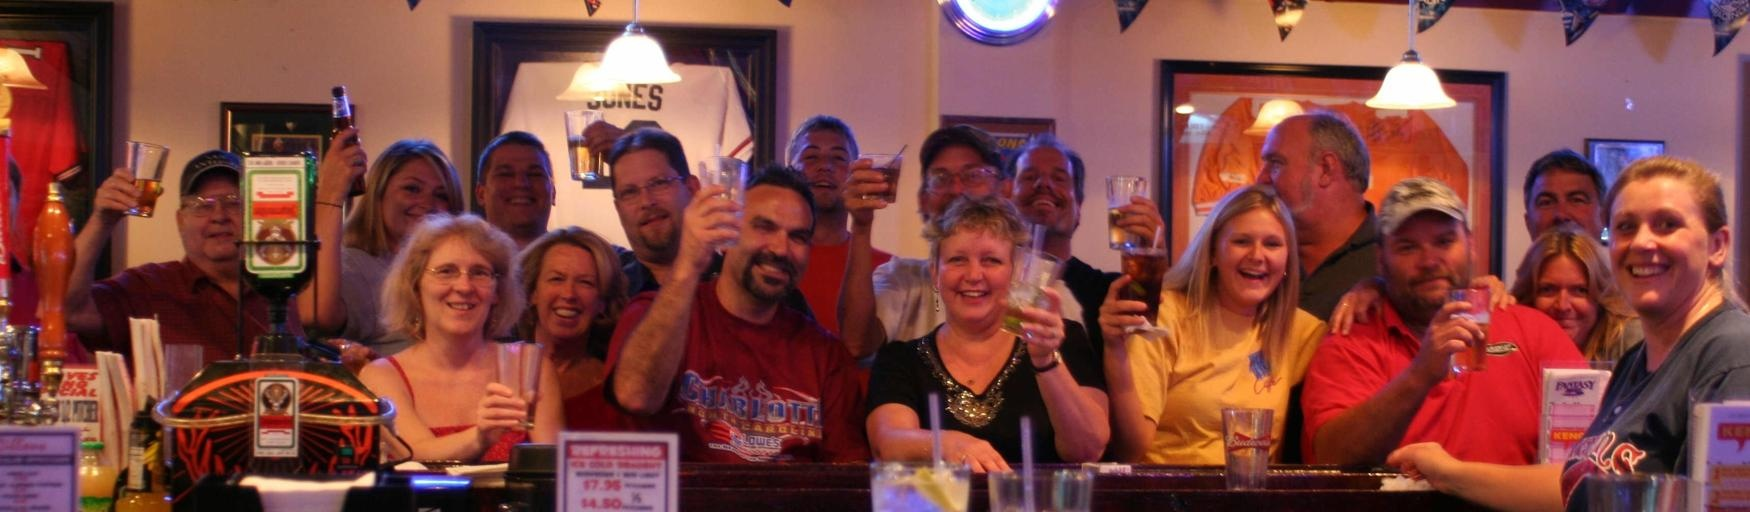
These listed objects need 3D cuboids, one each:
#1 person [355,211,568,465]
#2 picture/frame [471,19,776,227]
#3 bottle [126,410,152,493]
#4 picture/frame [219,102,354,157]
[{"bbox_3d":[-4.382,0.805,13.115,1.563,2.420,1.060,2,-1,-17],"label":"person"},{"bbox_3d":[-3.097,-1.502,14.916,4.452,1.769,0.147,0,-5,-3],"label":"picture/frame"},{"bbox_3d":[-7.095,1.865,12.510,0.253,0.772,0.079,2,0,-10],"label":"bottle"},{"bbox_3d":[-6.772,-1.433,14.776,1.620,0.660,0.096,1,-7,-3],"label":"picture/frame"}]
